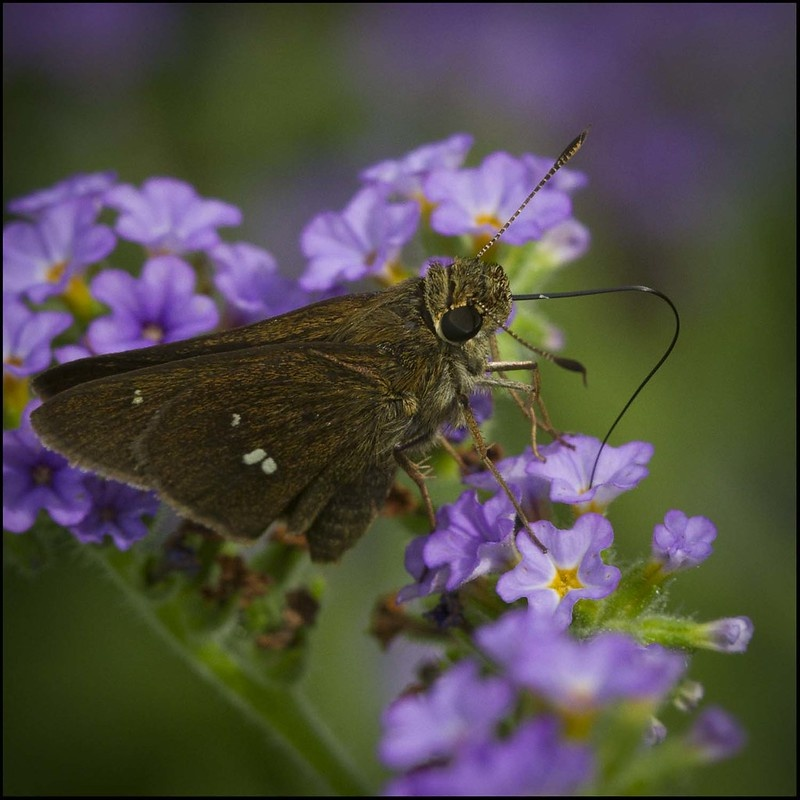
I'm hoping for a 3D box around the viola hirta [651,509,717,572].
[{"bbox_3d":[0.643,0.317,2.168,0.190,0.150,0.117,2,13,-16],"label":"viola hirta"}]

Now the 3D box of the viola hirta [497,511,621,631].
[{"bbox_3d":[0.377,0.392,2.067,0.258,0.264,0.066,43,-16,36],"label":"viola hirta"}]

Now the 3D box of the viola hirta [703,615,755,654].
[{"bbox_3d":[0.774,0.541,2.097,0.073,0.084,0.130,-1,-19,38],"label":"viola hirta"}]

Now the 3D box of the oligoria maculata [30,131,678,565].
[{"bbox_3d":[-0.087,-0.090,2.611,2.025,0.738,0.897,-11,-64,22],"label":"oligoria maculata"}]
